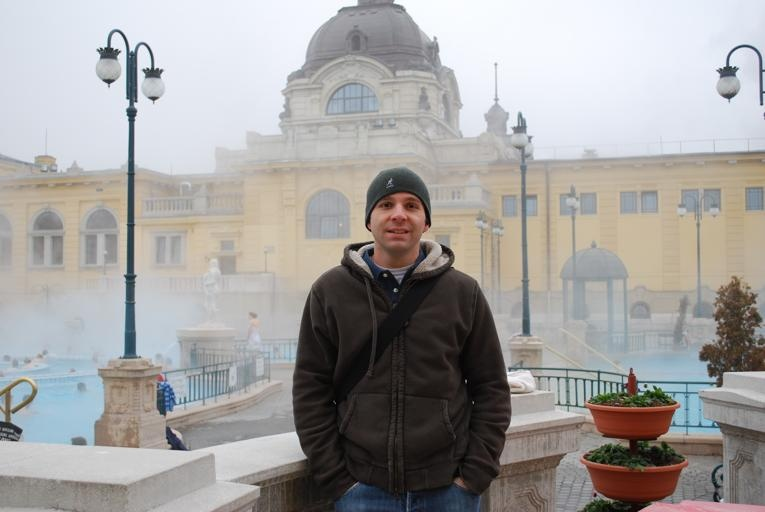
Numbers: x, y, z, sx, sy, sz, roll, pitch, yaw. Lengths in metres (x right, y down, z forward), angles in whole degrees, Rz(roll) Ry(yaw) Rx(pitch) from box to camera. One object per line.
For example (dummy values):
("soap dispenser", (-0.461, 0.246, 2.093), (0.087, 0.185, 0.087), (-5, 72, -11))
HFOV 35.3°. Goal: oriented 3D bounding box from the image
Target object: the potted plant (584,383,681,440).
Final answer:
("potted plant", (8.518, 5.560, 41.554), (2.289, 2.057, 2.438), (-4, 17, -1))
